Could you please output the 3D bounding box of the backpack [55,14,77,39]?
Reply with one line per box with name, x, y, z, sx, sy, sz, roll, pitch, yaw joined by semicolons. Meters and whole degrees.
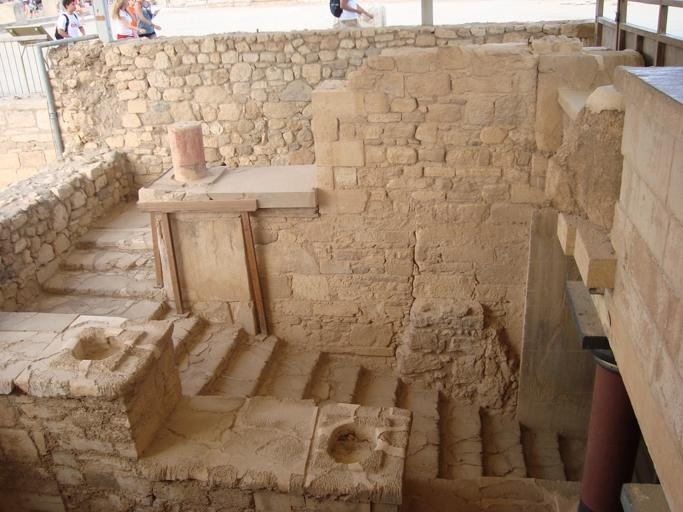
backpack;-3.915;-3.242;7.799;0.231;0.323;0.238;-7;24;-13
